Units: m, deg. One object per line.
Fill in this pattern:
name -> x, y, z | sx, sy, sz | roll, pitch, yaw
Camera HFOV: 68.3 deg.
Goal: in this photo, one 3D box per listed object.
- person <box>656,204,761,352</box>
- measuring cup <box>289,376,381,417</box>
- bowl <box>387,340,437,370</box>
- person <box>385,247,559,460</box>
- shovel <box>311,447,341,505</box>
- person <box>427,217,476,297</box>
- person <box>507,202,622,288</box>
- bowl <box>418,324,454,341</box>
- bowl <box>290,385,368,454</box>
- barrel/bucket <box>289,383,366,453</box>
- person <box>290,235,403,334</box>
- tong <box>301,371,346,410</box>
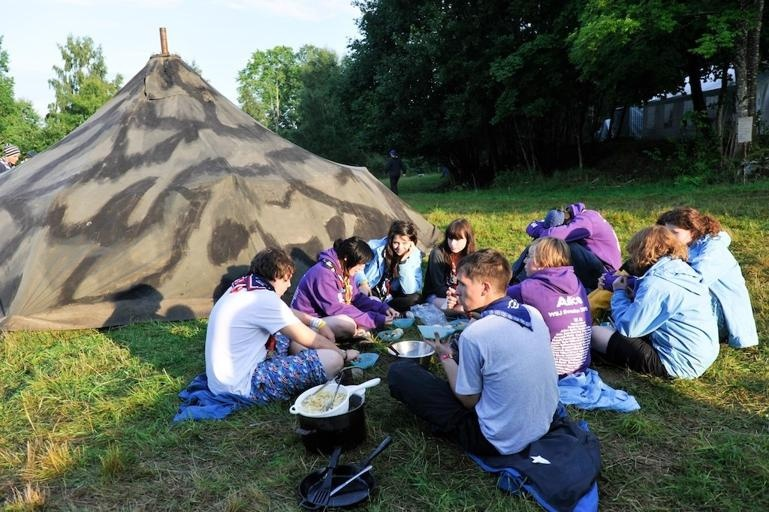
person -> 3.481, 0.206, 6.216 | 0.857, 1.615, 1.545 | -1, 0, 10
measuring cup -> -0.463, 1.154, 5.055 | 0.849, 0.358, 0.480 | -1, -1, 11
bowl -> 0.290, 0.962, 5.694 | 0.371, 0.133, 0.368 | 3, 28, -2
person -> 0.775, 0.861, 4.916 | 0.991, 1.972, 1.003 | 0, 1, -21
shovel -> -0.471, 1.772, 4.533 | 0.299, 0.411, 0.242 | -8, 7, -10
person -> 0.852, 0.049, 7.161 | 0.521, 1.052, 0.656 | 0, 1, 4
person -> 2.369, -0.050, 7.327 | 1.358, 1.228, 0.781 | 4, 5, -1
bowl -> 0.559, 0.799, 6.041 | 0.266, 0.100, 0.275 | -3, -6, 0
bowl -> -0.421, 1.446, 5.077 | 0.616, 0.462, 0.446 | -1, 0, 0
barrel/bucket -> -0.426, 1.439, 5.079 | 0.598, 0.478, 0.445 | 0, -1, 2
person -> -0.444, 0.333, 6.534 | 0.840, 1.413, 1.462 | 7, 14, 39
tong -> -0.546, 1.212, 5.035 | 0.230, 0.137, 0.349 | -32, 9, 0
